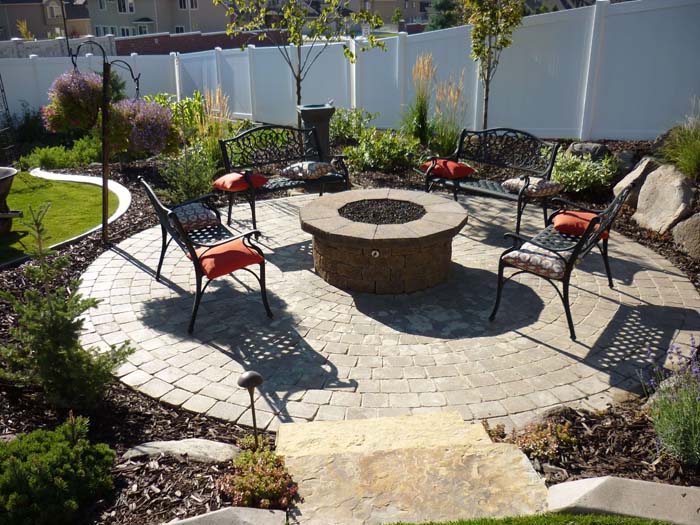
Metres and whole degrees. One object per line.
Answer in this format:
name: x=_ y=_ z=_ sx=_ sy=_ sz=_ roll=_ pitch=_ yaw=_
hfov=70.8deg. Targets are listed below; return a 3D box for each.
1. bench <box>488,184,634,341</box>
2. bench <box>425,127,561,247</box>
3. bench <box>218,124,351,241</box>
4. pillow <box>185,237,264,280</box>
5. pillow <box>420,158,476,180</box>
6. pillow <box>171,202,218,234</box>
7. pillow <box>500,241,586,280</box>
bench: x=2.318 y=-0.149 z=5.321 sx=0.983 sy=1.160 sz=1.593 roll=10 pitch=25 yaw=34
bench: x=2.105 y=-1.094 z=7.262 sx=0.988 sy=1.251 sz=2.138 roll=-29 pitch=38 yaw=-34
bench: x=-1.044 y=-1.208 z=7.492 sx=2.175 sy=1.478 sz=0.914 roll=-20 pitch=38 yaw=-36
pillow: x=-1.191 y=-0.042 z=4.879 sx=0.498 sy=0.113 sz=0.506 roll=-18 pitch=30 yaw=-28
pillow: x=1.498 y=-1.441 z=7.561 sx=0.662 sy=0.258 sz=0.391 roll=12 pitch=25 yaw=30
pillow: x=-1.765 y=-0.520 z=5.662 sx=0.401 sy=0.116 sz=0.375 roll=-5 pitch=33 yaw=-28
pillow: x=1.846 y=-0.037 z=4.966 sx=0.623 sy=0.124 sz=0.647 roll=16 pitch=18 yaw=13
